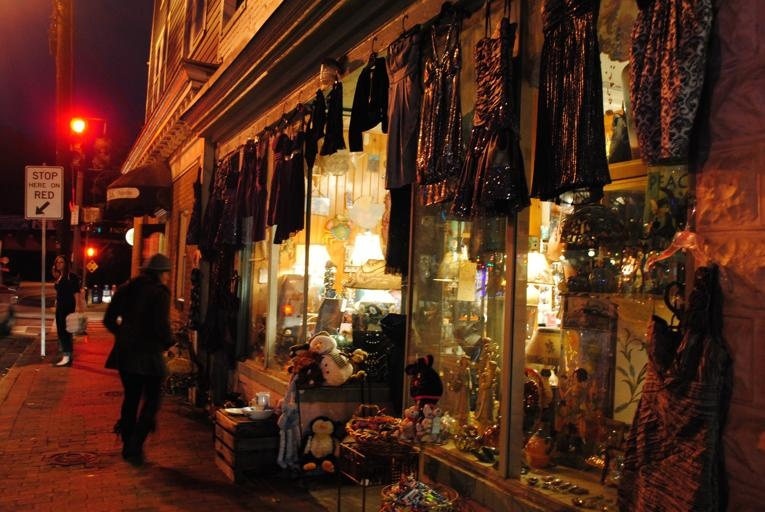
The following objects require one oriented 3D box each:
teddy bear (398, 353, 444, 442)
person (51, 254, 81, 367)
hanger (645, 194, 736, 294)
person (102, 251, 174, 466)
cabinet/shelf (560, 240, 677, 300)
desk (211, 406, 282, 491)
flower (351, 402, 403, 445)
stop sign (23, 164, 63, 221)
[{"bbox_3d":[0.311,1.164,5.059,0.323,0.708,0.303,-3,9,-11],"label":"teddy bear"},{"bbox_3d":[-5.984,0.987,12.057,0.664,2.130,0.612,0,-2,35],"label":"person"},{"bbox_3d":[1.799,-0.056,3.709,0.235,0.439,0.270,-20,-46,-13],"label":"hanger"},{"bbox_3d":[-2.715,1.088,7.074,0.732,2.390,0.528,3,-1,15],"label":"person"},{"bbox_3d":[1.593,0.097,4.306,0.271,0.203,0.448,7,-12,-34],"label":"cabinet/shelf"},{"bbox_3d":[-1.449,1.971,6.737,0.535,0.527,0.814,3,-4,-20],"label":"desk"},{"bbox_3d":[-0.072,1.443,5.423,0.337,0.158,0.400,2,-8,-1],"label":"flower"},{"bbox_3d":[-6.137,-1.150,11.436,0.608,1.054,0.265,4,-1,-32],"label":"stop sign"}]
